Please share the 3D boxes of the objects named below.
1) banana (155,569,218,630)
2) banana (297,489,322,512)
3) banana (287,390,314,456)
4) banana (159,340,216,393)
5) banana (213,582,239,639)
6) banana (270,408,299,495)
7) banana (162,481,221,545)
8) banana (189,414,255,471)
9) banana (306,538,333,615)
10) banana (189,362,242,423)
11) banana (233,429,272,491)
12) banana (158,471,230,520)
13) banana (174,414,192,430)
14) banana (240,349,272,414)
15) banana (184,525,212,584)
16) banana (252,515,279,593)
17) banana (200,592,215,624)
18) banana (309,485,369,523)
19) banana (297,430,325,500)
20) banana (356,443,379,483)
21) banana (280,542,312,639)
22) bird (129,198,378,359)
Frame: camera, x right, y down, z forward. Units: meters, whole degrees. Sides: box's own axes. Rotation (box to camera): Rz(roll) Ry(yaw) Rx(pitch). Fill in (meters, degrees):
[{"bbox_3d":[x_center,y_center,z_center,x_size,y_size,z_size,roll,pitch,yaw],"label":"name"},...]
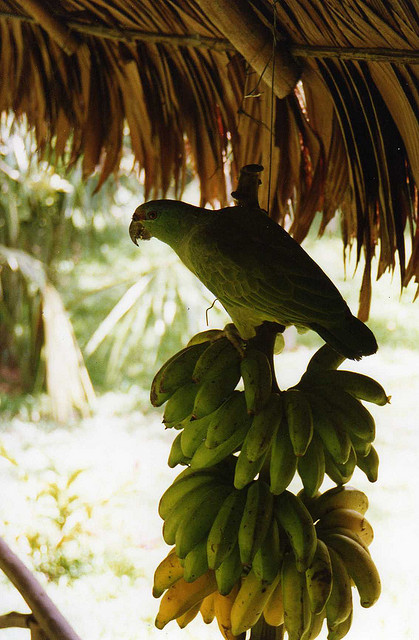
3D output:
[{"bbox_3d":[-0.045,0.578,1.880,0.120,0.149,0.082,8,5,2],"label":"banana"},{"bbox_3d":[0.218,0.394,1.968,0.046,0.063,0.034,-6,-6,4],"label":"banana"},{"bbox_3d":[0.173,0.204,1.804,0.040,0.044,0.134,18,33,-17],"label":"banana"},{"bbox_3d":[-0.063,0.104,1.936,0.081,0.049,0.256,0,24,20],"label":"banana"},{"bbox_3d":[0.032,0.603,1.909,0.047,0.136,0.038,-12,1,-45],"label":"banana"},{"bbox_3d":[0.158,0.263,1.851,0.046,0.178,0.059,11,-20,-17],"label":"banana"},{"bbox_3d":[-0.043,0.395,1.889,0.038,0.125,0.124,15,17,24],"label":"banana"},{"bbox_3d":[0.025,0.240,1.814,0.036,0.135,0.044,41,0,-5],"label":"banana"},{"bbox_3d":[0.218,0.503,1.762,0.040,0.147,0.044,17,-38,-14],"label":"banana"},{"bbox_3d":[0.009,0.147,1.806,0.052,0.172,0.047,43,-25,-10],"label":"banana"},{"bbox_3d":[0.092,0.277,1.824,0.041,0.138,0.044,25,-2,4],"label":"banana"},{"bbox_3d":[-0.031,0.362,1.921,0.040,0.115,0.115,39,35,8],"label":"banana"},{"bbox_3d":[-0.057,0.215,1.910,0.037,0.037,0.011,3,39,-49],"label":"banana"},{"bbox_3d":[0.104,0.111,1.827,0.054,0.184,0.056,-18,-52,23],"label":"banana"},{"bbox_3d":[-0.030,0.498,1.838,0.049,0.050,0.166,13,3,3],"label":"banana"},{"bbox_3d":[0.112,0.456,1.773,0.038,0.146,0.041,16,-28,-27],"label":"banana"},{"bbox_3d":[-0.003,0.631,1.970,0.035,0.093,0.027,-2,-4,27],"label":"banana"},{"bbox_3d":[0.287,0.393,1.980,0.030,0.089,0.091,43,-13,3],"label":"banana"},{"bbox_3d":[0.213,0.299,1.846,0.044,0.145,0.049,19,-34,-22],"label":"banana"},{"bbox_3d":[0.359,0.314,1.996,0.018,0.078,0.050,-14,-9,-4],"label":"banana"},{"bbox_3d":[0.156,0.537,1.793,0.043,0.167,0.053,-1,-25,-21],"label":"banana"},{"bbox_3d":[0.096,-0.096,1.876,0.506,0.339,0.212,-2,2,16],"label":"bird"}]
